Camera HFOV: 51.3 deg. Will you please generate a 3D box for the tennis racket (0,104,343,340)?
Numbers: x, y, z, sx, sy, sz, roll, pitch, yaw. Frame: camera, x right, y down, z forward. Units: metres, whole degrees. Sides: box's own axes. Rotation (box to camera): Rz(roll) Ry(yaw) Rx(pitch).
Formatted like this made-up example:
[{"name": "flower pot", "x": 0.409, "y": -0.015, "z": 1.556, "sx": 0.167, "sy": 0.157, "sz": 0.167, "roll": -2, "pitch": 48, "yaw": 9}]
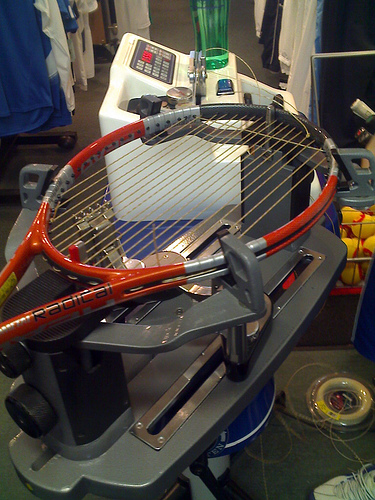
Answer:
[{"name": "tennis racket", "x": 0.034, "y": -0.108, "z": 0.622, "sx": 0.293, "sy": 0.039, "sz": 0.708, "roll": 21, "pitch": 40, "yaw": 33}]
